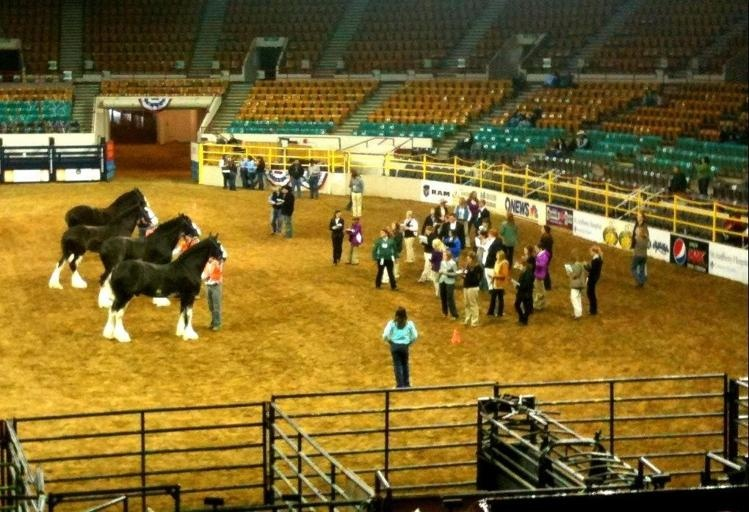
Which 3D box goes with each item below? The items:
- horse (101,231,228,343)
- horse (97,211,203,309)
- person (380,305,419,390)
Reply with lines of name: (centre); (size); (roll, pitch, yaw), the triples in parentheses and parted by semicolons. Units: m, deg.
horse: (-6.133, 0.864, 33.768); (3.692, 2.902, 0.909); (0, 6, -20)
horse: (-6.342, -0.034, 36.258); (3.997, 2.760, 2.381); (8, 8, 15)
person: (0.635, 2.340, 30.959); (0.873, 2.087, 0.943); (-4, 33, -15)
